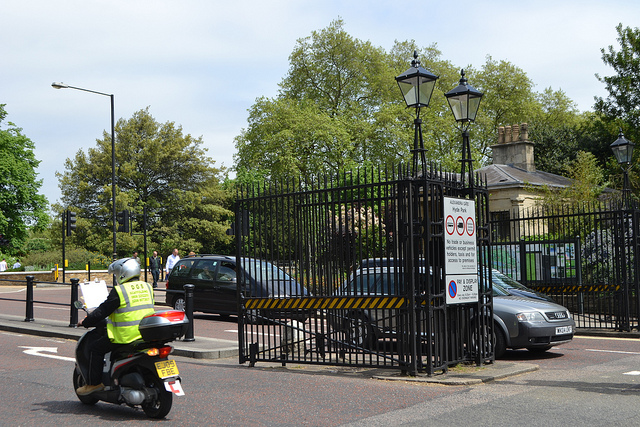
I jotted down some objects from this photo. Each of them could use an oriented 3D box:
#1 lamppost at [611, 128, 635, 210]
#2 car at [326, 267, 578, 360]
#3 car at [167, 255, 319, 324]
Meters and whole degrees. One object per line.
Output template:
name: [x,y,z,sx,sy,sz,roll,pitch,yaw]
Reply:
lamppost: [9.180,-1.265,23.273,0.796,2.237,0.669,1,-2,-28]
car: [3.144,2.763,19.209,5.599,1.937,2.615,-4,-7,25]
car: [-2.577,2.162,22.778,4.846,1.739,2.210,-6,-9,38]
